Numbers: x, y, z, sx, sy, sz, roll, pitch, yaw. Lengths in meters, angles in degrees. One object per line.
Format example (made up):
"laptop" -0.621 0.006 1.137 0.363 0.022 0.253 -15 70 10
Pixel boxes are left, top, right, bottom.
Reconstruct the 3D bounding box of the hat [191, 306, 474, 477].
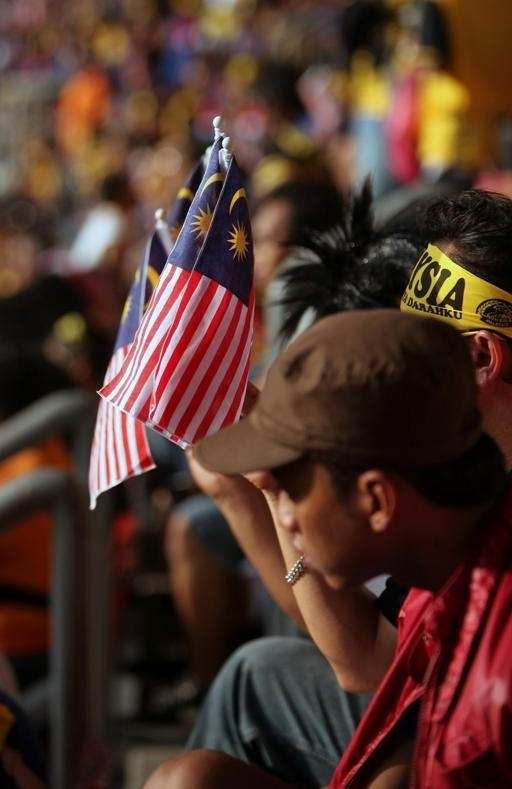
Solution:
"hat" 0.079 -0.007 0.895 0.256 0.113 0.170 -2 10 9
